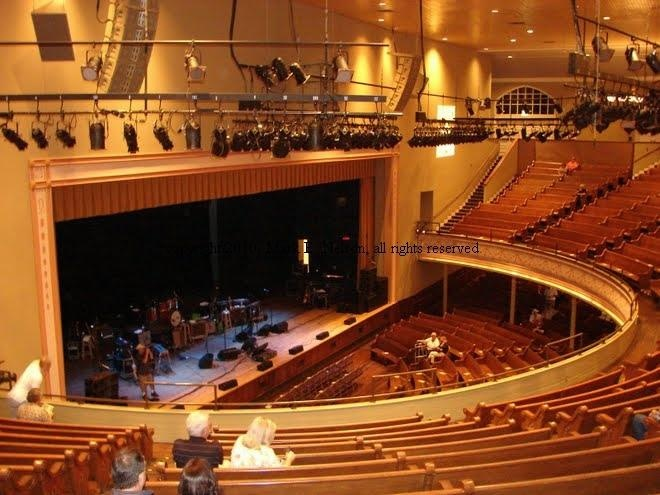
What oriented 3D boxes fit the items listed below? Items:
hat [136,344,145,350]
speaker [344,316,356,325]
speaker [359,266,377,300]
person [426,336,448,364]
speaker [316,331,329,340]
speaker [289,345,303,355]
[{"bbox_3d":[-4.121,2.190,12.071,0.169,0.084,0.195,1,1,2],"label":"hat"},{"bbox_3d":[0.597,2.205,16.448,0.339,0.174,0.536,-1,1,12],"label":"speaker"},{"bbox_3d":[1.175,1.149,17.427,0.779,0.926,0.689,-2,1,-15],"label":"speaker"},{"bbox_3d":[2.393,2.357,12.477,0.503,0.408,1.073,-6,9,11],"label":"person"},{"bbox_3d":[-0.229,2.466,15.251,0.259,0.203,0.471,-1,1,31],"label":"speaker"},{"bbox_3d":[-0.862,2.658,14.251,0.170,0.105,0.293,3,5,28],"label":"speaker"}]
